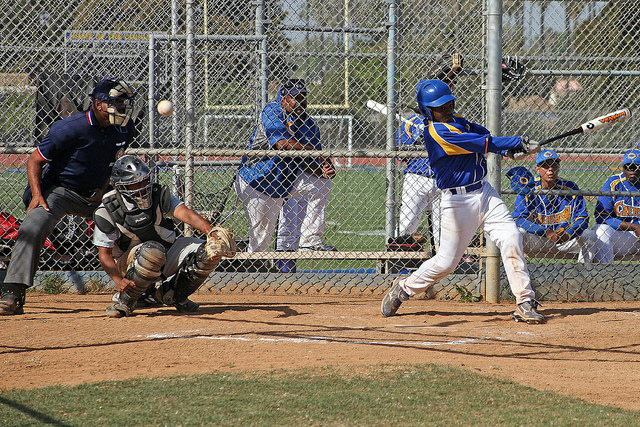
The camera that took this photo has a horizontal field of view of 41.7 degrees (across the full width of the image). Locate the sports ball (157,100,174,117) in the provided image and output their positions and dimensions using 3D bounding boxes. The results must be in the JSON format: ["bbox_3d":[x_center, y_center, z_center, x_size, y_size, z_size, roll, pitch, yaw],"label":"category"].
[{"bbox_3d":[-1.542,-1.059,8.400,0.148,0.167,0.248,-2,13,-11],"label":"sports ball"}]

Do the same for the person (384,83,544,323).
[{"bbox_3d":[1.394,-0.092,7.995,1.425,2.281,0.454,4,13,13],"label":"person"}]

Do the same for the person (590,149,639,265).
[{"bbox_3d":[3.391,-0.057,9.512,0.553,1.259,1.319,5,13,18],"label":"person"}]

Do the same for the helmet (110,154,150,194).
[{"bbox_3d":[-1.813,-0.364,7.898,0.294,0.311,0.366,-30,16,-29],"label":"helmet"}]

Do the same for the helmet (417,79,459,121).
[{"bbox_3d":[1.135,-1.085,7.942,0.438,0.353,0.355,3,22,42],"label":"helmet"}]

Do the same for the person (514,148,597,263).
[{"bbox_3d":[2.578,0.054,9.451,1.035,1.444,0.781,1,4,-1],"label":"person"}]

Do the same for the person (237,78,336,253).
[{"bbox_3d":[-0.387,-0.485,9.590,1.315,2.089,1.184,-2,-12,24],"label":"person"}]

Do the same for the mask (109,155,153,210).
[{"bbox_3d":[-1.808,-0.335,8.053,0.407,0.430,0.524,-21,28,-31],"label":"mask"}]

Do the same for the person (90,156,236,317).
[{"bbox_3d":[-1.474,0.264,8.013,1.574,1.424,1.138,1,11,21],"label":"person"}]

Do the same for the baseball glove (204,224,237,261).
[{"bbox_3d":[-0.920,0.276,7.792,0.239,0.148,0.306,-5,29,-10],"label":"baseball glove"}]
